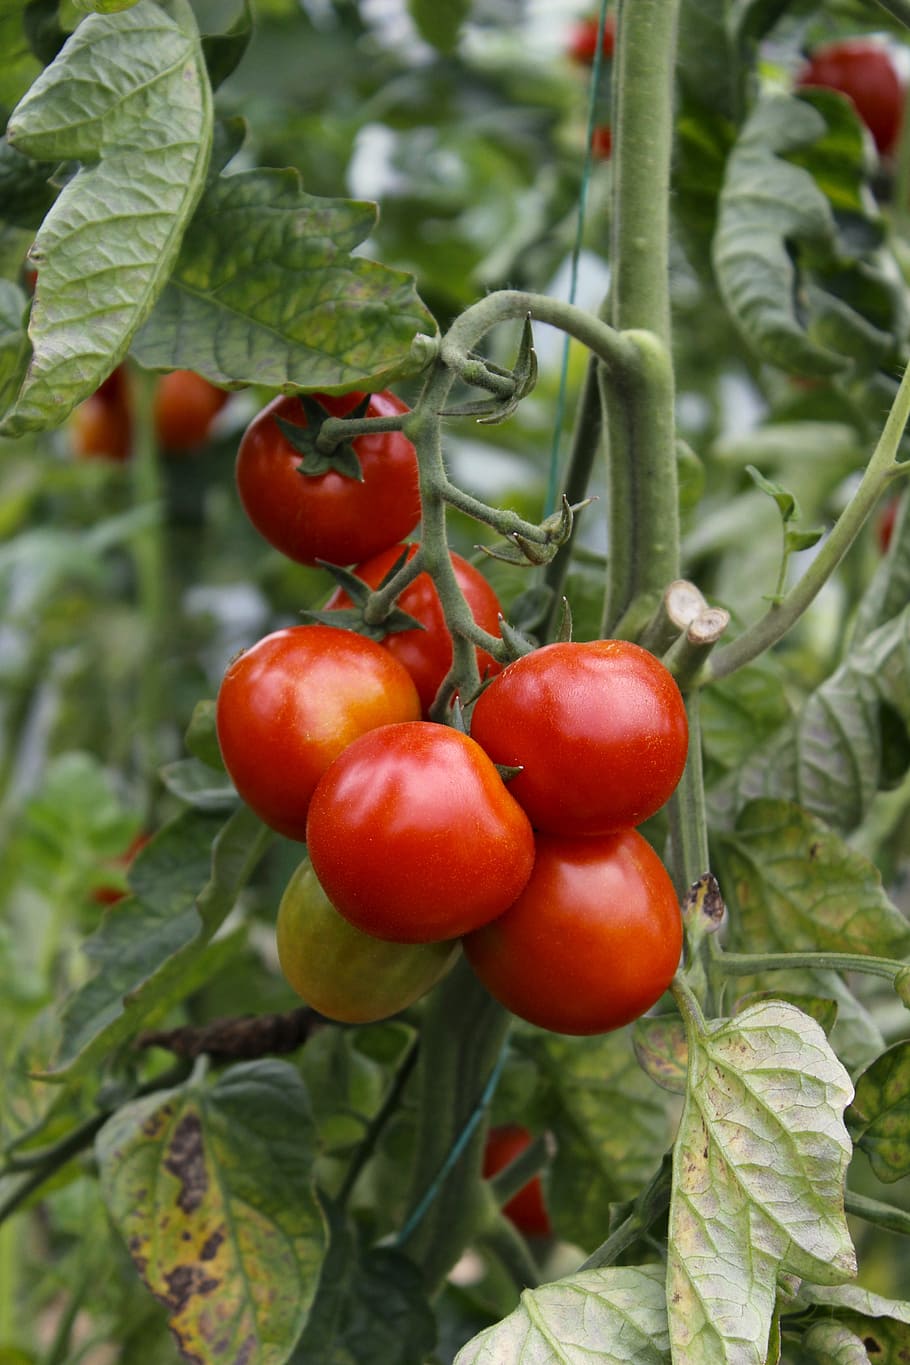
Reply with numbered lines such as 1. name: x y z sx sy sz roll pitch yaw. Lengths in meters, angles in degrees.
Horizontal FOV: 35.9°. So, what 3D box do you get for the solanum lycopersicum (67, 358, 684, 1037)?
1. solanum lycopersicum: -0.005 0.019 0.465 0.218 0.085 0.199 4 80 6
